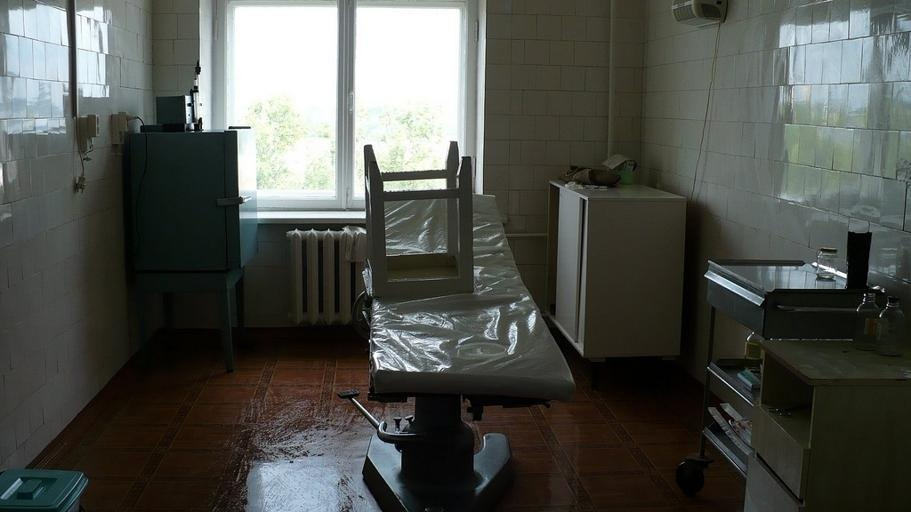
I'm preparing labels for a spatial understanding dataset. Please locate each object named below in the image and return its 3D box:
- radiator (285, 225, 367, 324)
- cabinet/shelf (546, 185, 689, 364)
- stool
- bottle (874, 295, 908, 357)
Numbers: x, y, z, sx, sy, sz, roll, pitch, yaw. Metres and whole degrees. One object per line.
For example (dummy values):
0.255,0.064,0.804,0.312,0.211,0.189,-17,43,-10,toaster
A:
-1.204,0.181,6.070,0.984,1.050,0.171,0,3,-4,radiator
1.431,0.047,5.935,1.090,1.329,1.478,-1,11,0,cabinet/shelf
-0.219,-0.296,4.808,1.010,1.294,0.970,-4,18,-4,stool
2.446,0.387,3.595,0.207,0.310,0.114,-10,16,-28,bottle
